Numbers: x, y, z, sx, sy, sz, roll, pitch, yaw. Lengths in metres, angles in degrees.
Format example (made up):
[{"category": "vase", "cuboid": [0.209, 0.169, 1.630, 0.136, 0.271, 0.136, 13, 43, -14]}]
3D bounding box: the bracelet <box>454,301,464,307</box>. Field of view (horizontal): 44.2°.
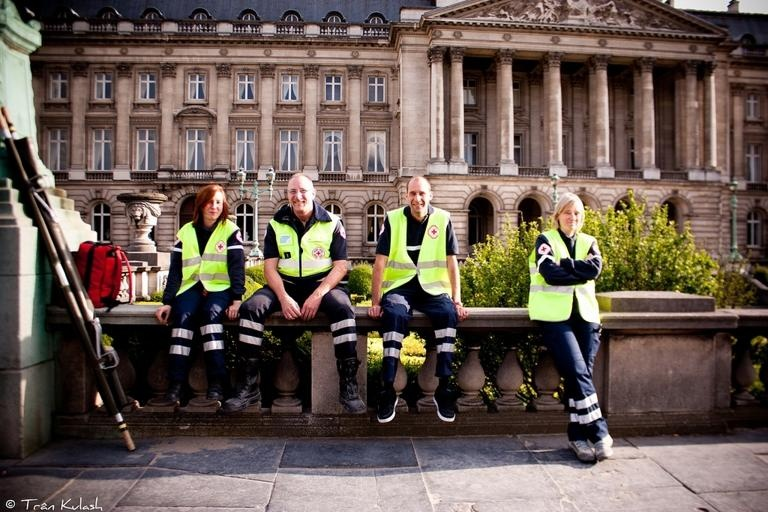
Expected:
[{"category": "bracelet", "cuboid": [2.827, 1.832, 34.709, 0.251, 0.135, 0.335, 1, -5, 35]}]
